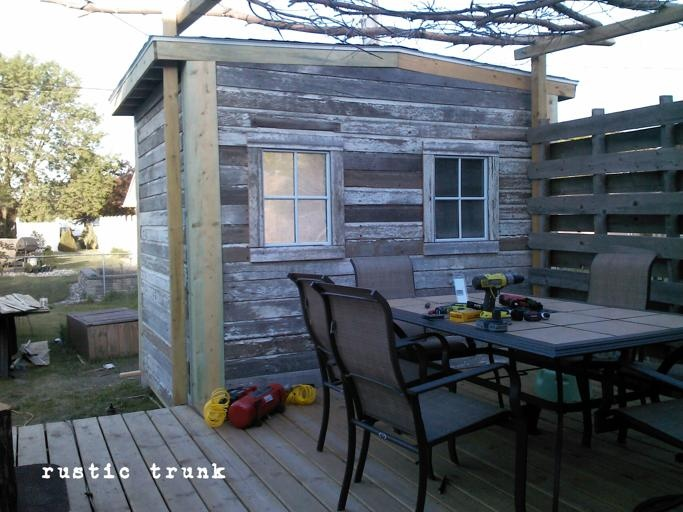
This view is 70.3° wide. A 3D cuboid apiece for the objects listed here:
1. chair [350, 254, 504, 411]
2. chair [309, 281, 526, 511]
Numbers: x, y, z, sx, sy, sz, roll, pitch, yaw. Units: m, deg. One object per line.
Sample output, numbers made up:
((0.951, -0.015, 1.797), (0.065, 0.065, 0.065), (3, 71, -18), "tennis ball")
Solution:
((0.542, 0.778, 3.807), (0.958, 1.033, 0.768), (-12, 7, -39), "chair")
((0.476, 0.618, 2.673), (1.093, 1.271, 1.005), (-2, 2, -31), "chair")
